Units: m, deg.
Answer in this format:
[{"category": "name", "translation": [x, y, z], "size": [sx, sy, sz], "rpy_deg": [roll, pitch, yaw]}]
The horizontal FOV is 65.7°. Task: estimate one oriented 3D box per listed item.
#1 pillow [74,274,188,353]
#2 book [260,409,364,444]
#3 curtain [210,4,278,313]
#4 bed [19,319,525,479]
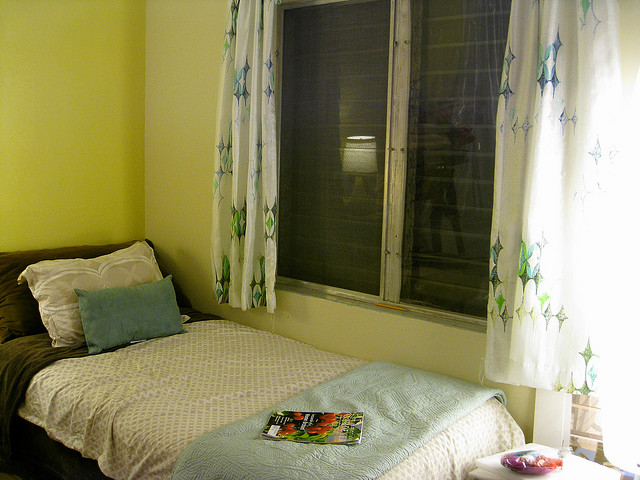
[{"category": "pillow", "translation": [-1.016, 0.405, 2.709], "size": [0.143, 0.348, 0.565], "rpy_deg": [-20, -10, 43]}, {"category": "book", "translation": [-0.029, 0.718, 1.912], "size": [0.378, 0.020, 0.205], "rpy_deg": [1, 13, 5]}, {"category": "curtain", "translation": [-0.418, -0.449, 2.794], "size": [0.153, 1.827, 0.554], "rpy_deg": [-3, 6, -45]}, {"category": "bed", "translation": [-0.547, 0.681, 2.192], "size": [1.163, 0.295, 0.939], "rpy_deg": [8, 12, 33]}]
